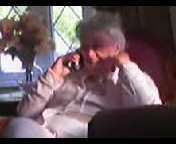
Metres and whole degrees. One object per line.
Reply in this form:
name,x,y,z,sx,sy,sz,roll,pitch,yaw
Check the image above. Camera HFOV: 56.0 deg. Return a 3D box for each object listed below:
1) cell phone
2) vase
cell phone,-0.078,-0.082,1.001,0.083,0.056,0.080,-24,42,40
vase,-0.377,0.093,0.992,0.074,0.056,0.072,0,-1,0
